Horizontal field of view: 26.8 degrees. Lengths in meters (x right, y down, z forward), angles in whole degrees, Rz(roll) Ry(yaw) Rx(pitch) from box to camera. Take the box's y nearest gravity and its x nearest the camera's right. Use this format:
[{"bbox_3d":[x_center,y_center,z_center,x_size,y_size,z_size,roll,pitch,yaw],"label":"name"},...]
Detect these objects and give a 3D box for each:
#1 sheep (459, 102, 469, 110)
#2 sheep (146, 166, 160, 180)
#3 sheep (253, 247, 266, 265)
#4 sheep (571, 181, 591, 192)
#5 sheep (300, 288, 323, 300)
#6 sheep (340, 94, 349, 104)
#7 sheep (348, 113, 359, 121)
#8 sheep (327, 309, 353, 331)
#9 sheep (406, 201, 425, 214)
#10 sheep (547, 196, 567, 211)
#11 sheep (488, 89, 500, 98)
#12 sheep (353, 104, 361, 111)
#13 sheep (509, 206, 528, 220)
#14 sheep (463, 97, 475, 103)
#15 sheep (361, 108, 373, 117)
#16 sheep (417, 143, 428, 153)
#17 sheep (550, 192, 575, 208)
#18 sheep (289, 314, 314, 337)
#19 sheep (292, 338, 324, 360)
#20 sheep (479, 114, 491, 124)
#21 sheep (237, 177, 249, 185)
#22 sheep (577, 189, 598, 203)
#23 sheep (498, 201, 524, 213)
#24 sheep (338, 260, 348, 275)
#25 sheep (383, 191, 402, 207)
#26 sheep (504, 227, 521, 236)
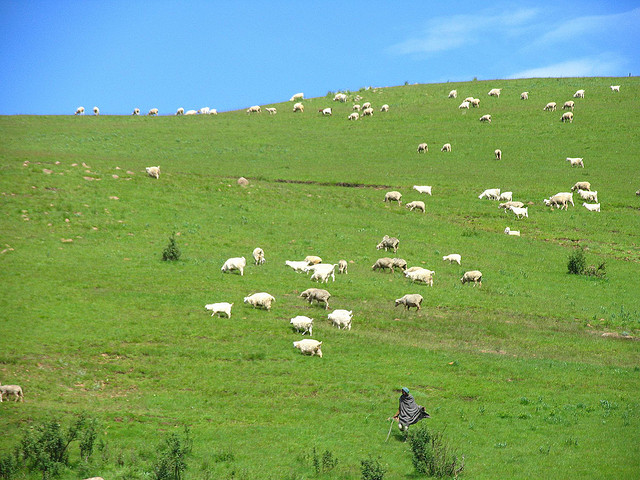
[{"bbox_3d":[17.030,-15.690,156.793,1.137,0.710,1.003,-2,9,4],"label":"sheep"},{"bbox_3d":[-15.107,-6.135,122.365,1.205,1.007,2.171,-4,9,-9],"label":"sheep"},{"bbox_3d":[-4.776,1.305,108.690,0.785,1.250,1.152,1,10,21],"label":"sheep"},{"bbox_3d":[24.759,-5.055,126.319,1.941,1.040,0.792,-2,-3,16],"label":"sheep"},{"bbox_3d":[-0.715,4.210,102.963,1.432,0.897,1.006,-1,9,7],"label":"sheep"},{"bbox_3d":[3.240,-17.800,167.475,0.495,1.075,1.929,9,27,17],"label":"sheep"},{"bbox_3d":[4.152,-14.475,157.091,1.098,0.736,1.734,-2,9,3],"label":"sheep"},{"bbox_3d":[1.588,6.021,100.422,1.845,1.457,1.232,-3,9,-1],"label":"sheep"},{"bbox_3d":[9.042,-2.991,123.315,0.806,1.020,2.176,-11,12,-42],"label":"sheep"},{"bbox_3d":[22.031,-3.393,123.361,1.650,1.241,0.941,-1,9,8],"label":"sheep"},{"bbox_3d":[21.291,-17.820,162.214,1.238,0.732,1.011,-2,9,4],"label":"sheep"},{"bbox_3d":[4.629,-16.042,162.208,0.910,0.624,1.337,-2,9,6],"label":"sheep"},{"bbox_3d":[18.237,-2.493,121.769,1.487,1.061,1.595,-2,9,6],"label":"sheep"},{"bbox_3d":[17.733,-16.494,158.255,0.948,0.467,1.857,-6,4,0],"label":"sheep"},{"bbox_3d":[5.719,-15.148,158.907,1.375,0.853,1.707,-2,9,1],"label":"sheep"},{"bbox_3d":[11.101,-9.895,143.038,0.868,0.506,1.062,1,47,7],"label":"sheep"},{"bbox_3d":[22.436,-4.003,123.932,2.608,1.480,0.759,0,-9,-4],"label":"sheep"},{"bbox_3d":[-1.215,6.394,99.348,1.564,1.430,1.382,-3,9,-4],"label":"sheep"},{"bbox_3d":[-0.746,7.947,97.246,2.016,1.308,0.869,-2,9,1],"label":"sheep"},{"bbox_3d":[18.772,-13.597,150.764,1.230,0.716,1.090,-2,9,4],"label":"sheep"},{"bbox_3d":[-6.968,-5.416,124.336,0.768,0.450,0.725,3,1,11],"label":"sheep"},{"bbox_3d":[25.141,-4.054,124.714,1.985,1.059,1.005,6,12,44],"label":"sheep"},{"bbox_3d":[17.586,-3.003,122.835,2.496,0.871,1.358,5,12,40],"label":"sheep"},{"bbox_3d":[1.949,2.141,108.442,0.773,1.172,1.626,-2,9,1],"label":"sheep"},{"bbox_3d":[6.908,-3.836,124.986,1.596,1.197,1.103,0,9,13],"label":"sheep"},{"bbox_3d":[16.967,-0.673,117.873,1.343,1.017,0.593,5,6,21],"label":"sheep"}]
